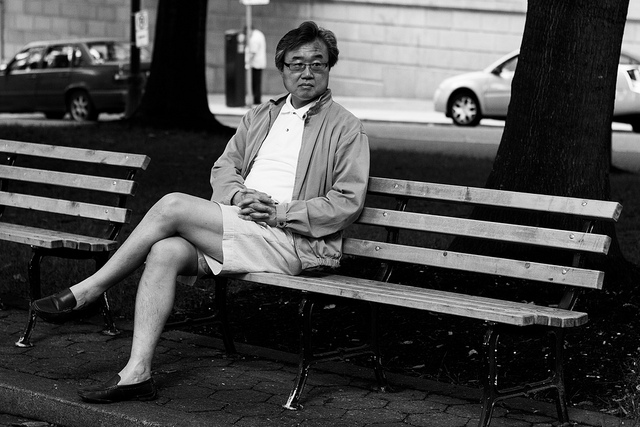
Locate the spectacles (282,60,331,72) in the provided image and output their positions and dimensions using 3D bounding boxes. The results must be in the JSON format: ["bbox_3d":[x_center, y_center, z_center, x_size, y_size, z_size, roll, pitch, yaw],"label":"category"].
[{"bbox_3d":[-0.094,-1.057,5.811,0.331,0.078,0.115,1,14,0],"label":"spectacles"}]
